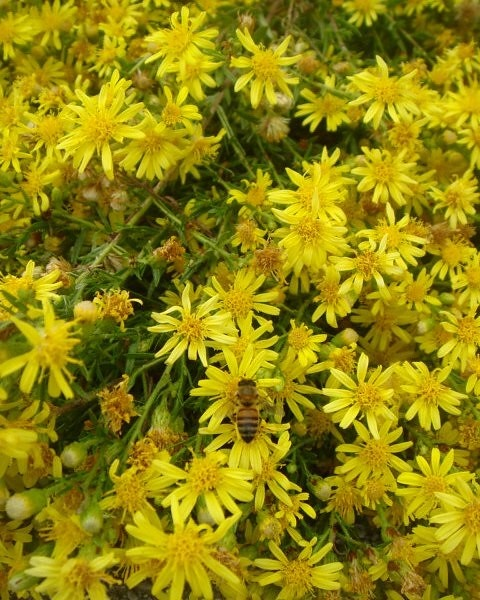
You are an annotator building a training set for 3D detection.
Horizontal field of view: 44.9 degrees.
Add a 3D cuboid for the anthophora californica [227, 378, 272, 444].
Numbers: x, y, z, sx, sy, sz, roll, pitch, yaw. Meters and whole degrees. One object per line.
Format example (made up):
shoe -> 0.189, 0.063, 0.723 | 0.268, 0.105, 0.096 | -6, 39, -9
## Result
anthophora californica -> 0.017, 0.314, 1.650 | 0.119, 0.067, 0.183 | 0, 47, -5
